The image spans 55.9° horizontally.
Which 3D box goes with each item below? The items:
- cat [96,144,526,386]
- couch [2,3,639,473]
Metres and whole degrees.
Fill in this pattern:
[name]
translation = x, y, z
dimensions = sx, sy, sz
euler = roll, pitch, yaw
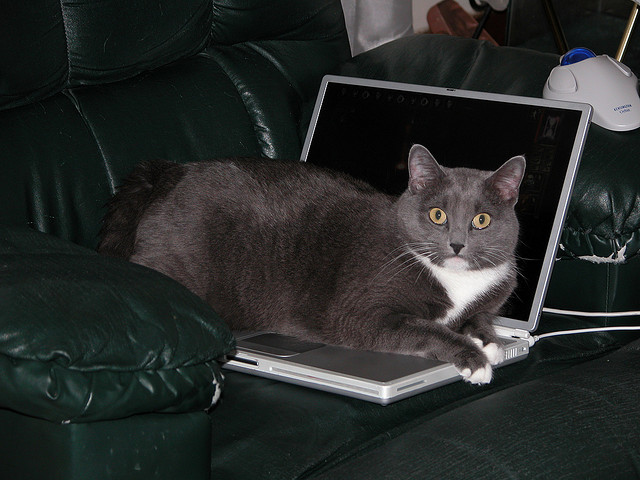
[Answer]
[cat]
translation = -0.071, 0.005, 1.555
dimensions = 1.074, 0.472, 0.436
euler = 6, 13, 21
[couch]
translation = 0.001, -0.002, 1.277
dimensions = 1.032, 0.915, 0.790
euler = -5, -1, -26
